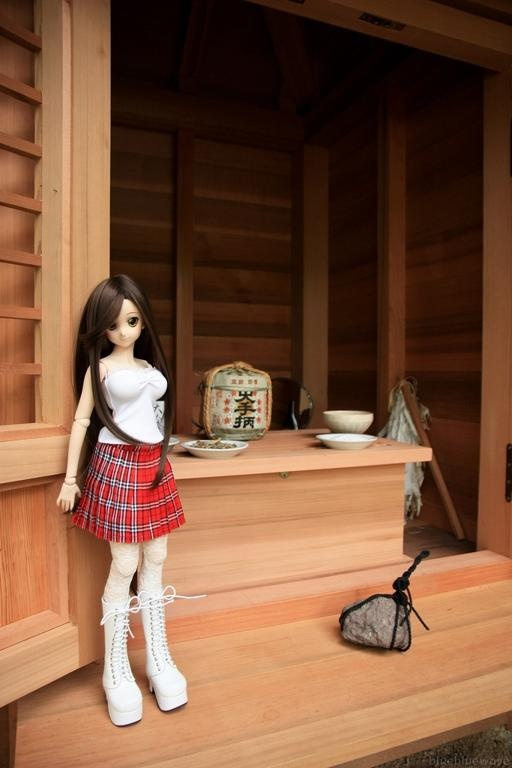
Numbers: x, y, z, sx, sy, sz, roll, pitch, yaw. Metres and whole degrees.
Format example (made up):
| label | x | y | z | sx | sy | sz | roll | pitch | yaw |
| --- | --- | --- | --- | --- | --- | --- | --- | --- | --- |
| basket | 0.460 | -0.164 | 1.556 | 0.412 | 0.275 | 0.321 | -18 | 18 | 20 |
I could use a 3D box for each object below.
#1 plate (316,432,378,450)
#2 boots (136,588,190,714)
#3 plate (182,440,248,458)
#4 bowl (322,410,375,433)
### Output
| label | x | y | z | sx | sy | sz | roll | pitch | yaw |
| --- | --- | --- | --- | --- | --- | --- | --- | --- | --- |
| plate | 0.337 | 0.212 | 2.013 | 0.203 | 0.041 | 0.293 | 1 | 1 | 12 |
| boots | -0.225 | 0.634 | 1.271 | 0.123 | 0.210 | 0.207 | -7 | 0 | -28 |
| plate | -0.141 | 0.212 | 1.764 | 0.205 | 0.039 | 0.275 | 0 | 1 | -11 |
| bowl | 0.353 | 0.156 | 2.136 | 0.180 | 0.087 | 0.235 | 1 | 1 | 3 |
